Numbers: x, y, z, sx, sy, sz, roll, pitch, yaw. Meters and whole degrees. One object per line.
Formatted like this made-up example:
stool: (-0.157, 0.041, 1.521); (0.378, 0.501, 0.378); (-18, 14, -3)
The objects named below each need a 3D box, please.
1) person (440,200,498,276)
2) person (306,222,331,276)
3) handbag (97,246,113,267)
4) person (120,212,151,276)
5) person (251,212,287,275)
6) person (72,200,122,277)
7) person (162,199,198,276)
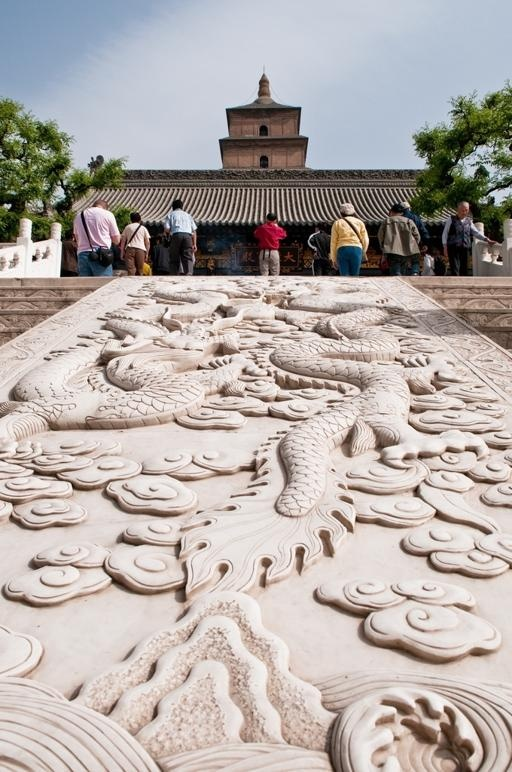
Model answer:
person: (2.234, -1.655, 6.062); (0.349, 0.953, 1.009); (1, 4, 21)
person: (0.826, -1.756, 7.071); (0.286, 0.630, 0.757); (0, 4, 7)
handbag: (-1.452, -1.252, 5.262); (0.181, 0.186, 0.095); (-5, 9, -24)
person: (-1.268, -1.488, 5.793); (0.253, 0.741, 0.223); (0, 34, -10)
person: (0.155, -1.695, 6.777); (0.363, 0.876, 0.340); (14, 32, 23)
person: (-1.557, -1.422, 5.309); (0.452, 0.756, 0.467); (-1, 4, 0)
person: (-0.789, -1.572, 5.731); (0.318, 0.874, 0.670); (-1, 4, -8)
